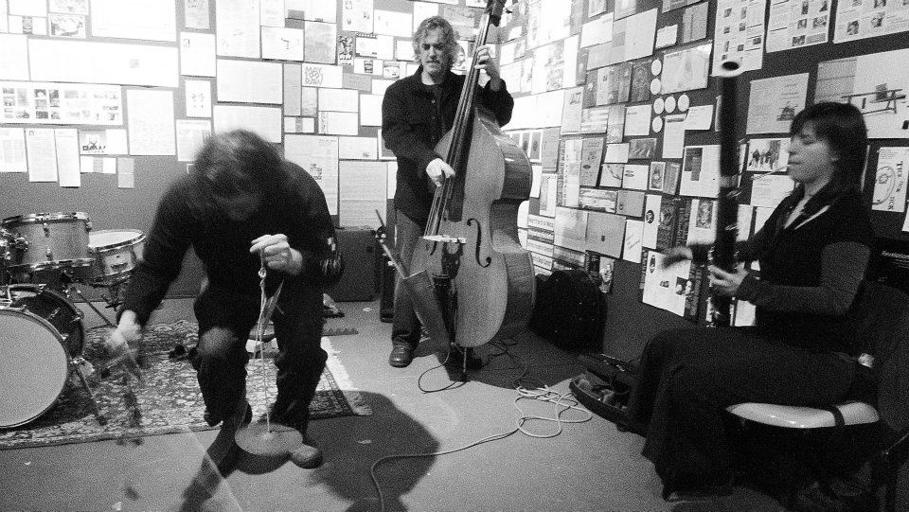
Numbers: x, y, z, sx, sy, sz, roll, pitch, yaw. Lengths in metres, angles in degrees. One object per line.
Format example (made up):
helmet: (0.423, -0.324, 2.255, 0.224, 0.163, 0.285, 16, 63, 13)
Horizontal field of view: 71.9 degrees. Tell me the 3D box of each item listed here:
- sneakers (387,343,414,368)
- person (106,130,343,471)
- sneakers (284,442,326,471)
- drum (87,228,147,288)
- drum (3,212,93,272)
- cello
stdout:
sneakers: (-0.379, 0.709, 4.420, 0.127, 0.112, 0.281, 3, -8, 0)
person: (-1.149, 0.250, 3.042, 1.162, 1.566, 0.901, -5, 18, -23)
sneakers: (-0.772, 1.043, 3.270, 0.144, 0.054, 0.144, 29, 27, 21)
drum: (-2.266, 0.027, 4.186, 0.425, 0.278, 0.397, 0, 12, 0)
drum: (-2.736, -0.105, 4.269, 0.468, 0.293, 0.445, 0, 3, 0)
cello: (0.119, -0.473, 3.998, 0.812, 2.239, 0.473, 2, 12, 3)
